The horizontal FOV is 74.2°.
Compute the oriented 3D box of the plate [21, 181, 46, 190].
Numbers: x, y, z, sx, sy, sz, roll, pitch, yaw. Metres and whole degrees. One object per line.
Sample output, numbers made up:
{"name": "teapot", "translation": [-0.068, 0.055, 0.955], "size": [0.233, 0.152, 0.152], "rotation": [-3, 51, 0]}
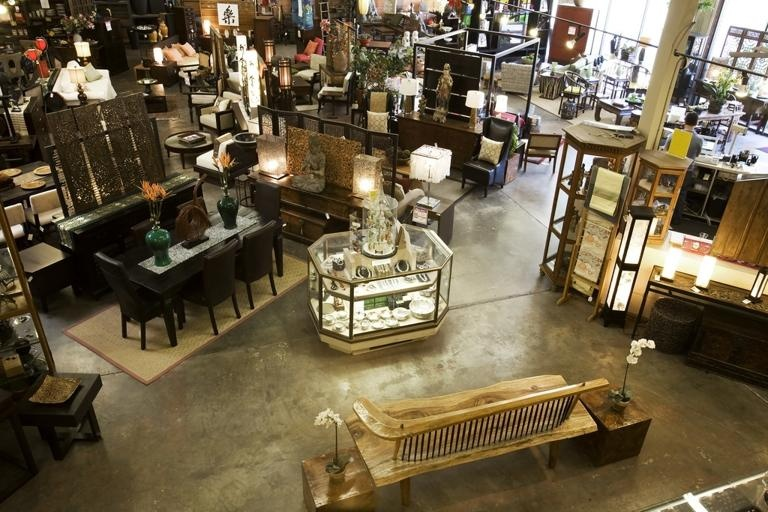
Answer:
{"name": "plate", "translation": [-6.881, -1.383, 9.926], "size": [0.254, 0.033, 0.245], "rotation": [1, 28, -6]}

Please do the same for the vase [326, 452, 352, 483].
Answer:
{"name": "vase", "translation": [-0.551, 2.461, 6.026], "size": [0.247, 0.298, 0.304], "rotation": [8, 28, 11]}

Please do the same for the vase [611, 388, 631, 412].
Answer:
{"name": "vase", "translation": [3.219, 1.897, 6.884], "size": [0.246, 0.302, 0.302], "rotation": [10, 34, 25]}

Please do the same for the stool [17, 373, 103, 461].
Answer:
{"name": "stool", "translation": [-4.218, 2.106, 6.737], "size": [0.770, 0.951, 0.702], "rotation": [4, 28, 3]}
